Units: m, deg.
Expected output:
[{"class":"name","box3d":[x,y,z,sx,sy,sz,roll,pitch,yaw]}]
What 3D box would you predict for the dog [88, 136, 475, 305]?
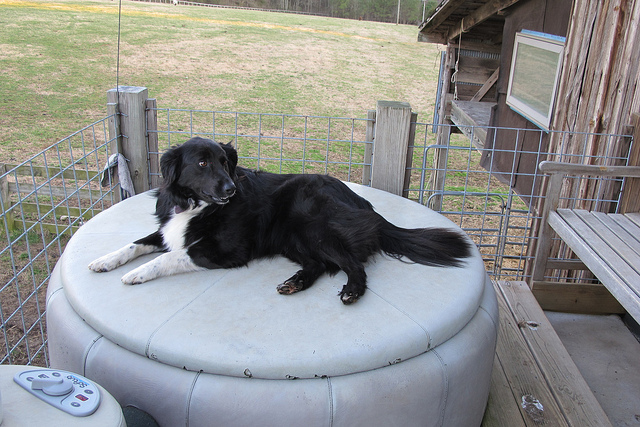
[{"class":"dog","box3d":[-0.147,0.030,3.137,2.341,1.007,0.910,-6,-5,9]}]
